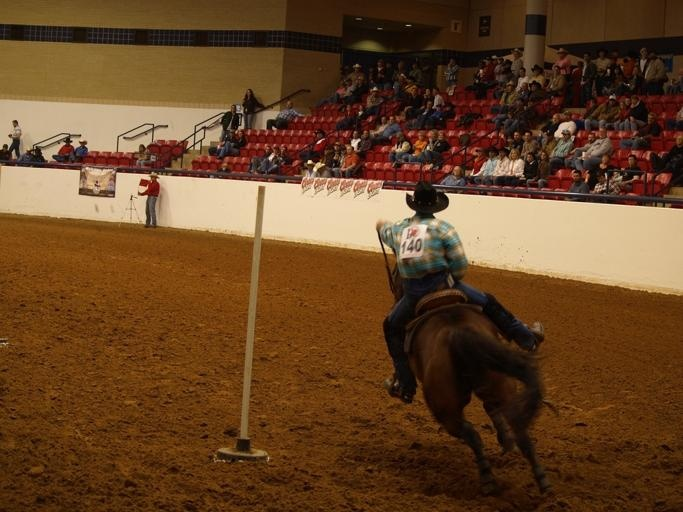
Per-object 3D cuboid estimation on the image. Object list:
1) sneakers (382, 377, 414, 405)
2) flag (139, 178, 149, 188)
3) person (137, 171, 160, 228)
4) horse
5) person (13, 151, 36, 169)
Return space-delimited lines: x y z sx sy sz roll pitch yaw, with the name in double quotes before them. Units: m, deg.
"sneakers" 0.585 1.400 6.589 0.166 0.210 0.455 -2 20 -26
"flag" -7.537 -2.825 24.149 0.345 0.335 0.108 3 9 -1
"person" -7.495 -2.190 24.456 0.836 2.100 0.949 1 8 -7
"horse" 1.149 0.999 6.152 0.759 2.030 3.347 -19 6 2
"person" -14.784 -4.644 29.383 0.813 0.752 3.540 -2 10 -26
